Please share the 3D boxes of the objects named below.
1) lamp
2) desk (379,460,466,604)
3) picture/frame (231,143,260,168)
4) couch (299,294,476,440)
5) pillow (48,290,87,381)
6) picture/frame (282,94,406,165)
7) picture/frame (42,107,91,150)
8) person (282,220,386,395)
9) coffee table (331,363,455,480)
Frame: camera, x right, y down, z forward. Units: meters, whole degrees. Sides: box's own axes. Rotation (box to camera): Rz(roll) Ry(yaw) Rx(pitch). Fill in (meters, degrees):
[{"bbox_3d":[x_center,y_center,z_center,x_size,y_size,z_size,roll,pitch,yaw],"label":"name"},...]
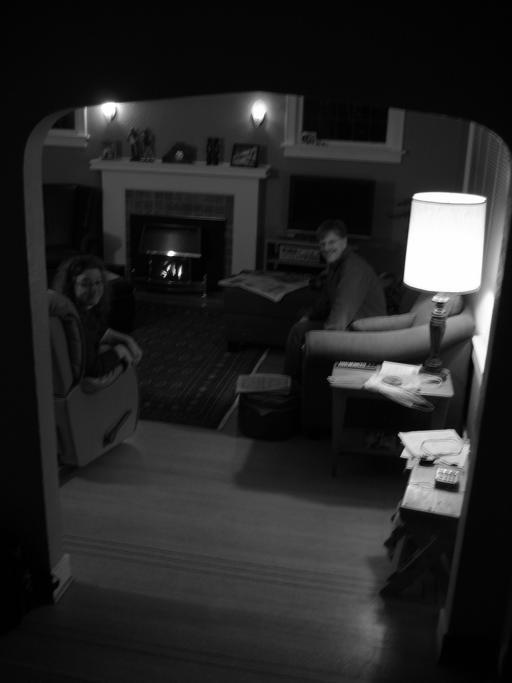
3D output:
[{"bbox_3d":[0.894,-0.271,2.629,0.341,0.876,0.489,5,11,23],"label":"lamp"},{"bbox_3d":[0.570,0.664,1.856,0.150,0.361,0.273,5,44,6],"label":"desk"},{"bbox_3d":[-0.119,-1.949,5.741,0.295,0.245,0.137,1,11,0],"label":"picture/frame"},{"bbox_3d":[0.667,0.042,2.940,0.626,0.787,0.809,5,24,10],"label":"couch"},{"bbox_3d":[-0.818,-0.032,2.367,0.083,0.295,0.233,-17,22,-31],"label":"pillow"},{"bbox_3d":[0.969,-2.362,5.965,1.246,1.099,0.812,6,3,13],"label":"picture/frame"},{"bbox_3d":[-2.168,-2.428,6.223,0.557,0.410,0.213,5,11,19],"label":"picture/frame"},{"bbox_3d":[0.538,-0.209,3.547,0.482,1.136,0.461,-1,12,1],"label":"person"},{"bbox_3d":[0.679,0.338,2.827,0.604,0.685,0.478,6,33,12],"label":"coffee table"}]
